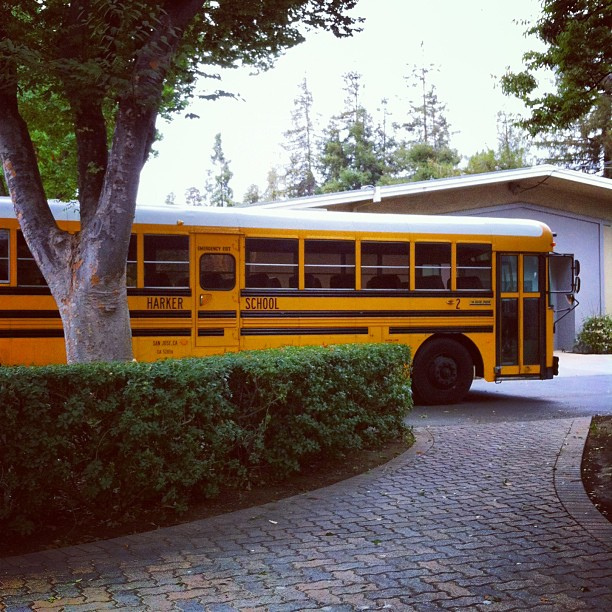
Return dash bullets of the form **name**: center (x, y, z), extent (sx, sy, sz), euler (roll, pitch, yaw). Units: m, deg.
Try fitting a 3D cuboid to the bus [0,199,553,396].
- **bus**: center (0.368, -0.347, 12.911), extent (10.729, 2.938, 3.173), euler (0, 2, -22)
